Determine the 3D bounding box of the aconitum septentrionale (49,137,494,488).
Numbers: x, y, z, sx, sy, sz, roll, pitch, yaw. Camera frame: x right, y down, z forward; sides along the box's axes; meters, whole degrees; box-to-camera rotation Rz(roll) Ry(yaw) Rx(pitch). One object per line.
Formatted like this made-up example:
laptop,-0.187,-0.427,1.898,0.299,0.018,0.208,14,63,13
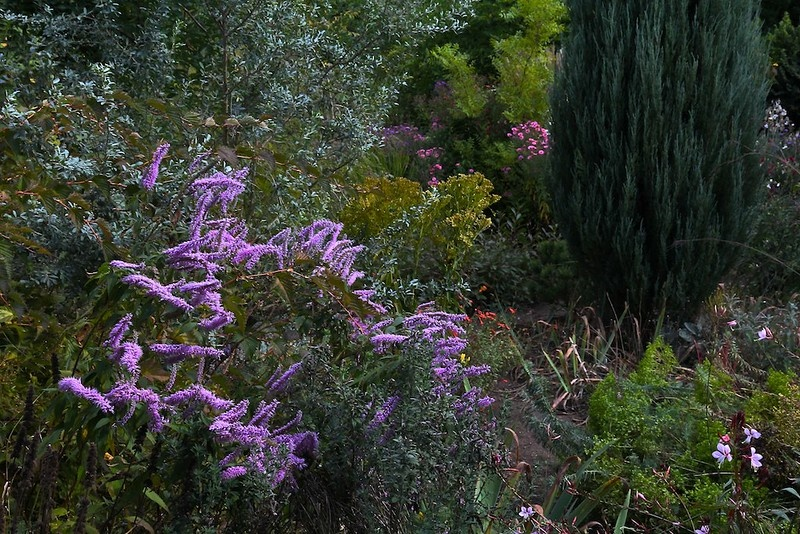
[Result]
aconitum septentrionale,-0.568,0.299,3.855,1.576,0.590,1.829,-1,55,-18
